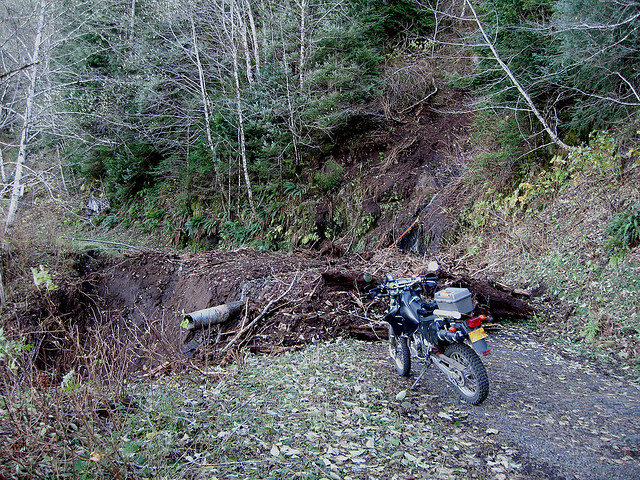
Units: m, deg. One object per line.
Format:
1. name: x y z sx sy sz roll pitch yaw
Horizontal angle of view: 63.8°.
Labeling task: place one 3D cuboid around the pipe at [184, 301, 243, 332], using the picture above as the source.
1. pipe: -2.117 1.476 10.138 0.379 0.370 1.351 -1 6 37

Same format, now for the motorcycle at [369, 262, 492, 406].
1. motorcycle: 1.728 1.494 8.499 1.228 1.947 2.961 -14 5 -20
